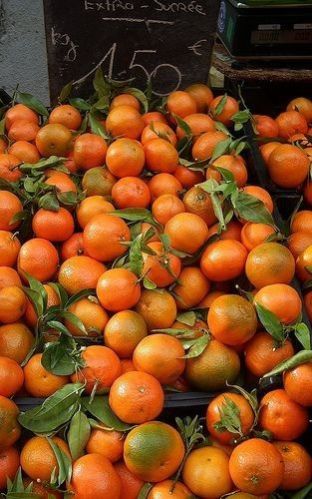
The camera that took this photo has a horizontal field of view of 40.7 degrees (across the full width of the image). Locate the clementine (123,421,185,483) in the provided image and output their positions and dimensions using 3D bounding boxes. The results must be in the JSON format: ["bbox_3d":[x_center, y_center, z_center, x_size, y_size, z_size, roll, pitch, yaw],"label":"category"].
[{"bbox_3d":[-0.002,0.435,0.893,0.136,0.125,0.129,8,67,-20],"label":"clementine"}]

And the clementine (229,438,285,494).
[{"bbox_3d":[0.199,0.414,0.844,0.105,0.098,0.102,-5,69,17],"label":"clementine"}]

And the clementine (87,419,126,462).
[{"bbox_3d":[-0.102,0.410,0.922,0.082,0.077,0.080,3,98,1],"label":"clementine"}]

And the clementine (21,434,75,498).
[{"bbox_3d":[-0.249,0.439,0.895,0.080,0.080,0.089,-3,75,10],"label":"clementine"}]
